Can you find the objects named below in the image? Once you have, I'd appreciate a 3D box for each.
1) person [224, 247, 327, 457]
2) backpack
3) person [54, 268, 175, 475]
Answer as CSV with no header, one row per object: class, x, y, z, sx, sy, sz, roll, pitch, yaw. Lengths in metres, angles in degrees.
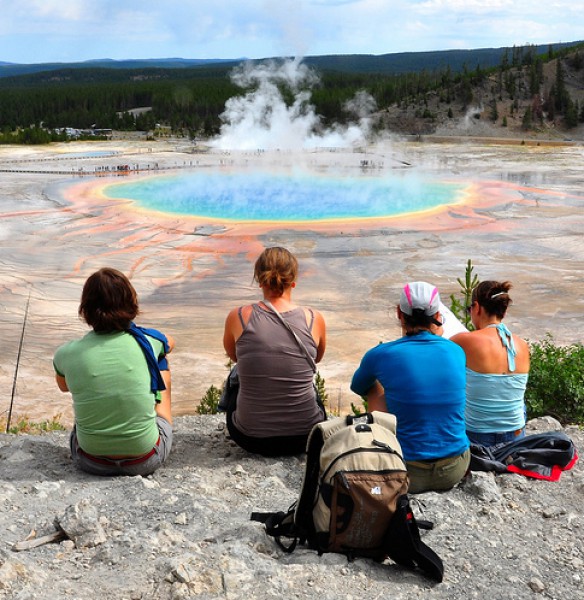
person,-0.101,0.351,3.908,0.707,1.343,0.453,5,0,4
backpack,0.261,0.816,2.627,0.473,0.613,0.300,5,0,7
person,-1.006,0.438,3.457,0.722,1.123,0.420,5,1,-25
